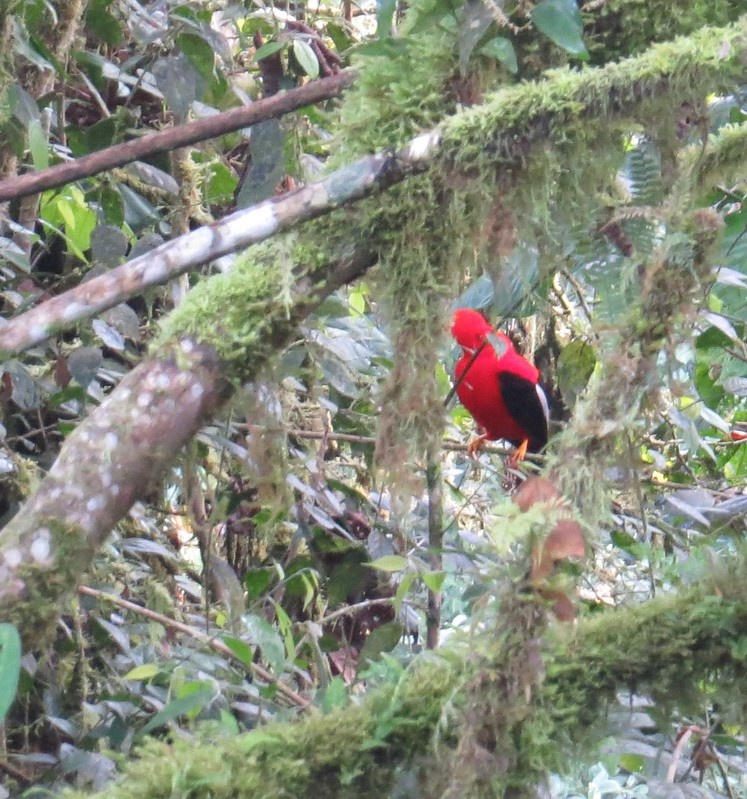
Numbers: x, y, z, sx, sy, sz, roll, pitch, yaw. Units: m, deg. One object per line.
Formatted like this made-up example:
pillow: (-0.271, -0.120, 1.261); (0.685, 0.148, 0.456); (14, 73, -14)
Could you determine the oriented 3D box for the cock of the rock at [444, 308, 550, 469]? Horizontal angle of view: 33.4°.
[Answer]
cock of the rock: (0.277, -0.033, 2.639); (0.260, 0.381, 0.171); (-18, 24, -33)
